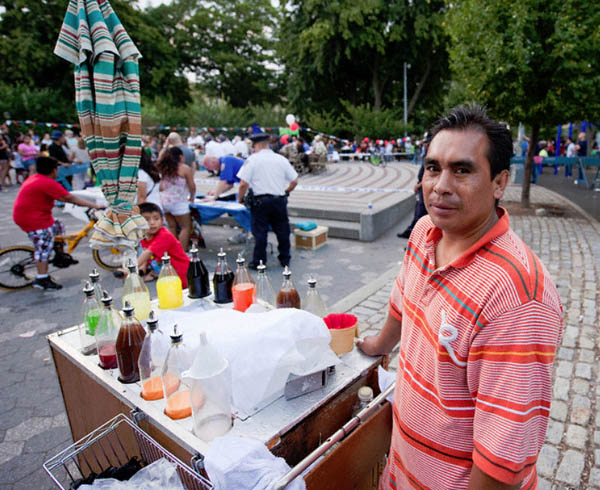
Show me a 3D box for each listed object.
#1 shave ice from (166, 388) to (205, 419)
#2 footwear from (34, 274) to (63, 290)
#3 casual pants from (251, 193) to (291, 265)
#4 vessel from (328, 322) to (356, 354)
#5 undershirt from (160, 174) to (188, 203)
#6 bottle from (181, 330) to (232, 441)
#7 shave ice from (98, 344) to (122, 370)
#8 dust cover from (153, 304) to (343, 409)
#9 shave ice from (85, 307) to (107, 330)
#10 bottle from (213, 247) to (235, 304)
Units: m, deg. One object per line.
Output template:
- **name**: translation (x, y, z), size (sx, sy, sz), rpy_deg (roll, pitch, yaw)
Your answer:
- **shave ice**: translation (-0.650, 0.870, 2.812), size (0.202, 0.083, 0.217), rpy_deg (1, 10, 6)
- **footwear**: translation (-3.475, 0.521, 7.224), size (0.426, 0.220, 0.164), rpy_deg (9, 9, -23)
- **casual pants**: translation (-0.425, -0.196, 7.458), size (0.558, 1.134, 0.472), rpy_deg (-3, 11, -5)
- **vessel**: translation (0.270, 0.597, 3.238), size (0.160, 0.138, 0.173), rpy_deg (-6, 7, -8)
- **undershirt**: translation (-1.913, -0.847, 7.792), size (0.404, 0.414, 0.307), rpy_deg (-5, 12, -17)
- **bottle**: translation (-0.481, 0.728, 2.690), size (0.247, 0.572, 0.105), rpy_deg (-5, 12, -17)
- **shave ice**: translation (-1.186, 0.697, 3.259), size (0.122, 0.146, 0.142), rpy_deg (0, 2, -4)
- **dust cover**: translation (-0.341, 0.543, 2.987), size (0.738, 0.303, 0.570), rpy_deg (8, 14, 36)
- **shave ice**: translation (-1.344, 0.479, 3.358), size (0.107, 0.137, 0.118), rpy_deg (-5, -5, 22)
- **bottle**: translation (-0.563, 0.209, 3.780), size (0.149, 0.423, 0.154), rpy_deg (-1, 19, 0)
